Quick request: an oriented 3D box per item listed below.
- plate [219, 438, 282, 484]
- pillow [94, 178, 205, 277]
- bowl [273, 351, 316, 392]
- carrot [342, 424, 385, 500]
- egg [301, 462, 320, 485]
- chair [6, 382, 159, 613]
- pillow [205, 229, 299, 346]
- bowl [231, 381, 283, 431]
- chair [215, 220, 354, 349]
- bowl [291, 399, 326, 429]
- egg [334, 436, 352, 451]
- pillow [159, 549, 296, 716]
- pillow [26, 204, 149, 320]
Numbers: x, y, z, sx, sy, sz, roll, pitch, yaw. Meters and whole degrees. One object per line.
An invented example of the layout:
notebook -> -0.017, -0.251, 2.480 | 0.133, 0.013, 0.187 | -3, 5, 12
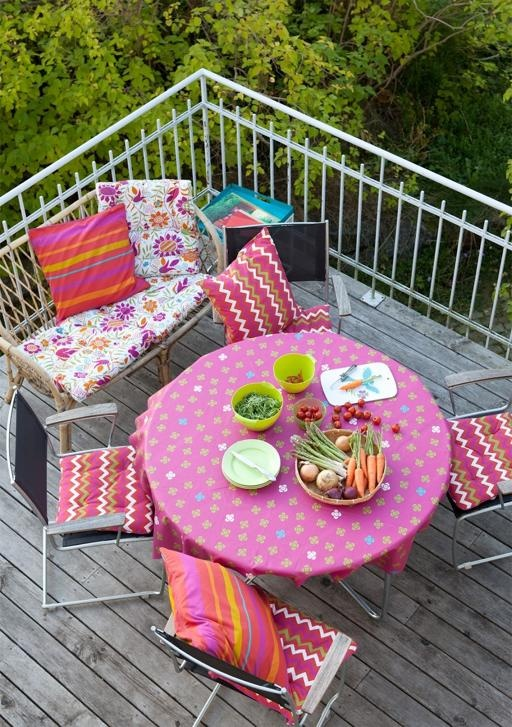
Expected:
plate -> -0.020, 0.359, 2.235 | 0.172, 0.025, 0.158 | 26, 53, 18
pillow -> -0.578, -0.806, 3.651 | 0.590, 0.552, 0.192 | -8, 8, -5
bowl -> 0.152, 0.048, 2.589 | 0.154, 0.102, 0.167 | -3, 56, 4
carrot -> 0.380, 0.326, 2.183 | 0.126, 0.126, 0.362 | 4, 40, 10
egg -> 0.180, 0.370, 2.121 | 0.067, 0.064, 0.075 | 2, 41, -8
chair -> -0.697, 0.556, 2.671 | 0.792, 0.904, 0.725 | -6, 38, -7
pillow -> 0.016, -0.366, 3.206 | 0.301, 0.399, 0.510 | 19, 45, 25
bowl -> 0.012, 0.163, 2.386 | 0.232, 0.173, 0.174 | -7, 34, -10
chair -> 0.101, -0.424, 3.701 | 0.845, 0.756, 0.631 | -4, 58, 0
bowl -> 0.201, 0.182, 2.360 | 0.115, 0.062, 0.110 | -2, 48, 2
egg -> 0.313, 0.277, 2.263 | 0.053, 0.060, 0.052 | 5, 30, 14
pillow -> -0.092, 0.741, 1.873 | 0.294, 0.344, 0.380 | -10, 40, -8
pillow -> -0.907, -0.563, 3.523 | 0.632, 0.525, 0.304 | -26, 44, -20
